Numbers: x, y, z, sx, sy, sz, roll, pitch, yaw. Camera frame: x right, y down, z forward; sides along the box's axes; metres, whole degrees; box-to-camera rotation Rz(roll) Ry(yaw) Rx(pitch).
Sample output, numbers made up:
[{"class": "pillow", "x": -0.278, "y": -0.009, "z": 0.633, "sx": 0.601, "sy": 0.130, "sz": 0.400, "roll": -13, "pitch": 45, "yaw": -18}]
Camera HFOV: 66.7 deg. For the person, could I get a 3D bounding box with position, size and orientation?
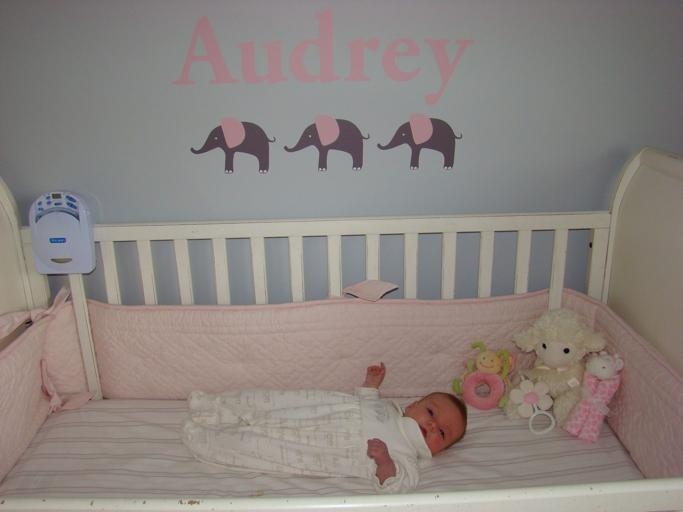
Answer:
[{"class": "person", "x": -0.051, "y": 0.707, "z": 2.100, "sx": 1.115, "sy": 0.277, "sz": 0.670, "roll": 2, "pitch": 19, "yaw": -12}]
